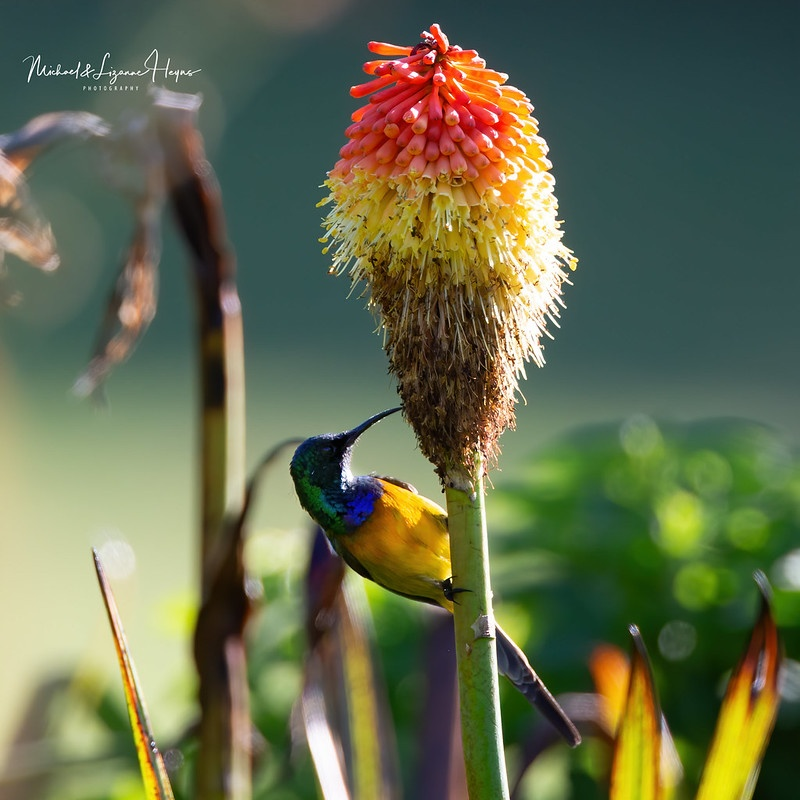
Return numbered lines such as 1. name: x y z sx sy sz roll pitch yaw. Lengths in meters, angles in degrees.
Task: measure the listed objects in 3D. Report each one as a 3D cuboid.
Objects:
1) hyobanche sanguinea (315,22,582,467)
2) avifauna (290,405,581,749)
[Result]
1. hyobanche sanguinea: 0.047 -0.147 1.139 0.250 0.414 0.163 1 4 9
2. avifauna: 0.041 0.149 1.379 0.406 0.207 0.132 13 4 -39
